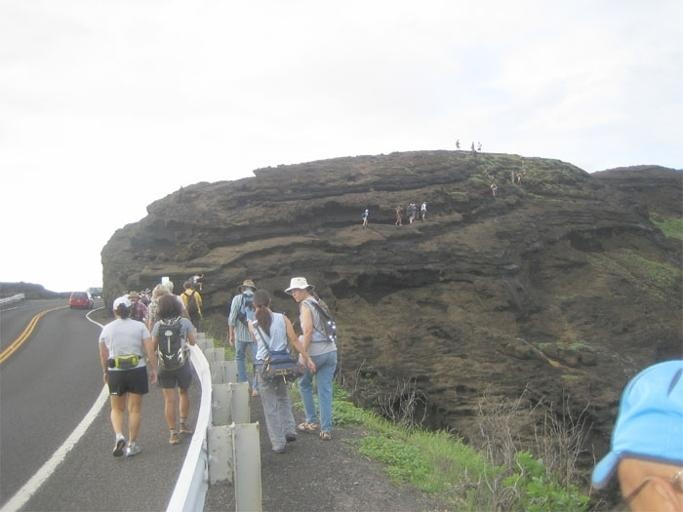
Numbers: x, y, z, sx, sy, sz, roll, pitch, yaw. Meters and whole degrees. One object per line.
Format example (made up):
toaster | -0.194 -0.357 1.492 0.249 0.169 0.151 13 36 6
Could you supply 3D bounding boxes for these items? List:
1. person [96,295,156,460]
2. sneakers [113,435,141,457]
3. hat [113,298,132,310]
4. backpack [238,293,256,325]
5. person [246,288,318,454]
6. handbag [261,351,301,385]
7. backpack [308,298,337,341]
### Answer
person | -3.258 1.774 8.750 0.741 2.323 1.539 -6 13 -23
sneakers | -3.093 2.778 8.285 0.190 0.220 0.496 2 -6 4
hat | -3.321 0.720 8.623 0.169 0.147 0.240 -6 -5 -22
backpack | -1.791 0.990 10.849 0.412 0.722 0.248 4 -18 -4
person | -0.959 1.689 8.437 0.613 2.271 0.873 -4 12 -13
handbag | -0.883 1.663 8.453 0.724 0.563 0.398 5 -16 -22
backpack | -0.256 0.953 8.663 0.616 0.615 0.403 -9 -1 -1
